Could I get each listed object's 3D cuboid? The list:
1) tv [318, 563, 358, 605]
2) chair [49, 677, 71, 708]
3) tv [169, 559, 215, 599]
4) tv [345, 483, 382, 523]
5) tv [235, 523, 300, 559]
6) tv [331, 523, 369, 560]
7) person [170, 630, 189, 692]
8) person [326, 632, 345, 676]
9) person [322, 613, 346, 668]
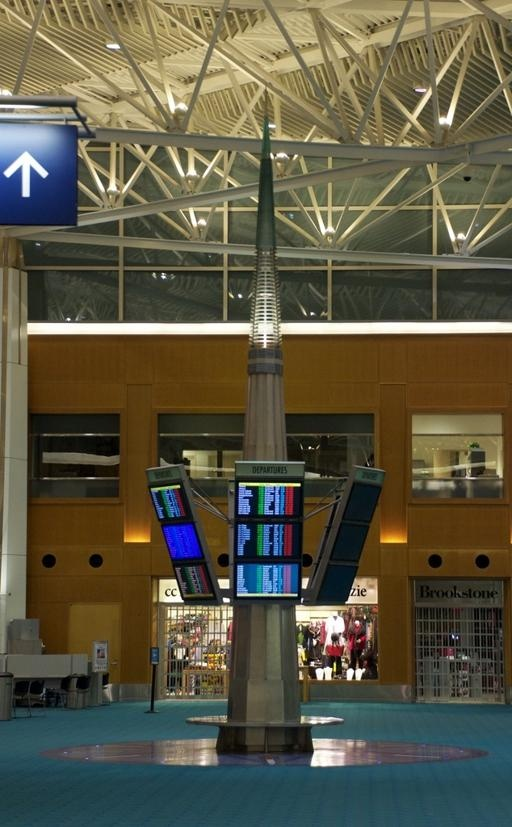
[{"bbox_3d":[1.138,2.421,13.919,0.155,0.592,0.681,25,13,40],"label":"tv"},{"bbox_3d":[-4.665,6.372,22.548,0.475,0.736,2.375,2,-12,-12],"label":"chair"},{"bbox_3d":[-0.930,2.446,14.256,0.465,0.536,0.883,5,-13,-24],"label":"tv"},{"bbox_3d":[1.511,1.225,13.713,0.140,0.542,0.613,18,10,35],"label":"tv"},{"bbox_3d":[0.146,1.687,13.089,0.880,0.484,0.296,0,-13,-2],"label":"tv"},{"bbox_3d":[1.349,1.802,13.790,0.144,0.539,0.603,26,8,40],"label":"tv"},{"bbox_3d":[-2.089,6.446,25.782,0.519,2.006,0.187,1,12,-5],"label":"person"},{"bbox_3d":[2.074,6.208,25.326,0.463,1.062,0.143,-3,-13,11],"label":"person"},{"bbox_3d":[2.084,5.928,25.463,0.589,1.590,0.364,3,6,24],"label":"person"}]
